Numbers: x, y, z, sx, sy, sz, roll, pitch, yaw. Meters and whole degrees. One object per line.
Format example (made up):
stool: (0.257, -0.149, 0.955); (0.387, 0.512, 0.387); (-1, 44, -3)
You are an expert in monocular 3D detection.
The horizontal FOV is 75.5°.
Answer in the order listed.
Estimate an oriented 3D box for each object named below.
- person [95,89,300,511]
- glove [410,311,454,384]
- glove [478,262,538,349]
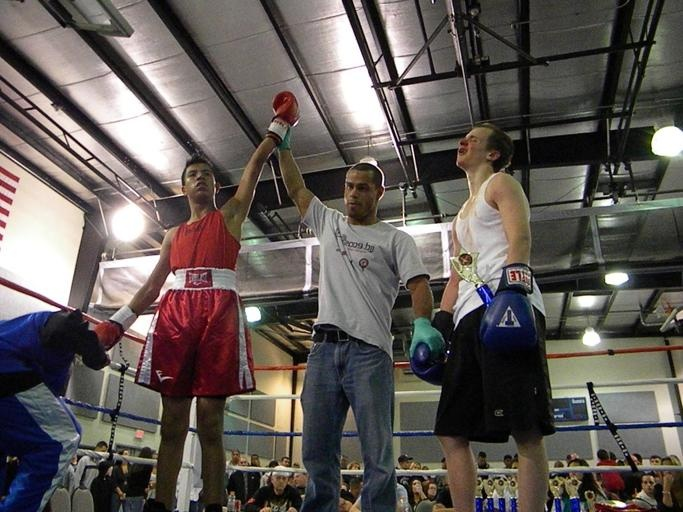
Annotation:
person: (-0.775, 0.082, 2.470); (0.998, 2.356, 0.507); (-5, -29, 14)
glove: (0.426, 0.385, 1.984); (0.238, 0.320, 0.130); (-8, -30, 44)
glove: (0.637, 0.180, 1.678); (0.217, 0.314, 0.197); (12, -1, -18)
